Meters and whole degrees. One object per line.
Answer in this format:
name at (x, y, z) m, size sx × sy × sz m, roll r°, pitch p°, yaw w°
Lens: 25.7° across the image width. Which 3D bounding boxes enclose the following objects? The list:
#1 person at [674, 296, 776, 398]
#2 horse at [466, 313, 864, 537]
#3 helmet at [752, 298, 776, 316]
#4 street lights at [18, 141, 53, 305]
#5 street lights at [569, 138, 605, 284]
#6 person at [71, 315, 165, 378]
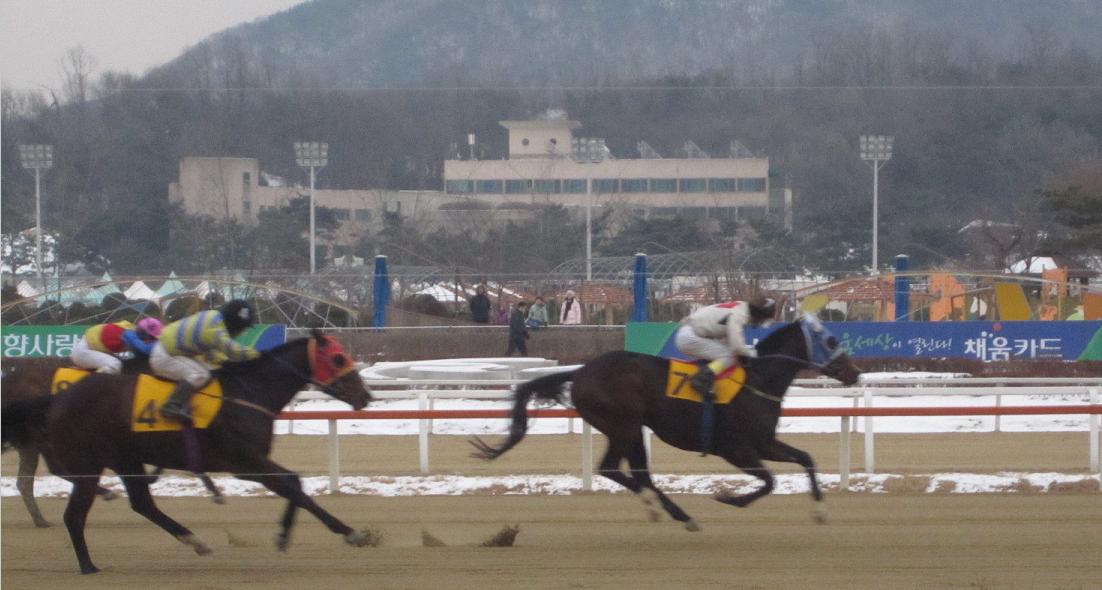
person at (2.019, 0.558, 28.915) m, size 1.673 × 1.278 × 0.957 m, roll 2°, pitch -3°, yaw 3°
horse at (1.558, 1.555, 29.460) m, size 5.685 × 2.462 × 1.143 m, roll 0°, pitch -2°, yaw 41°
helmet at (2.569, 0.128, 28.916) m, size 0.314 × 0.179 × 0.167 m, roll -1°, pitch -1°, yaw -30°
street lights at (-6.483, -0.989, 30.363) m, size 0.422 × 1.304 × 0.999 m, roll -2°, pitch -1°, yaw -10°
street lights at (0.485, -1.283, 31.518) m, size 0.482 × 1.352 × 0.836 m, roll -2°, pitch -1°, yaw -9°
person at (-5.148, 0.590, 29.257) m, size 1.370 × 0.589 × 0.786 m, roll -2°, pitch 22°, yaw 13°
